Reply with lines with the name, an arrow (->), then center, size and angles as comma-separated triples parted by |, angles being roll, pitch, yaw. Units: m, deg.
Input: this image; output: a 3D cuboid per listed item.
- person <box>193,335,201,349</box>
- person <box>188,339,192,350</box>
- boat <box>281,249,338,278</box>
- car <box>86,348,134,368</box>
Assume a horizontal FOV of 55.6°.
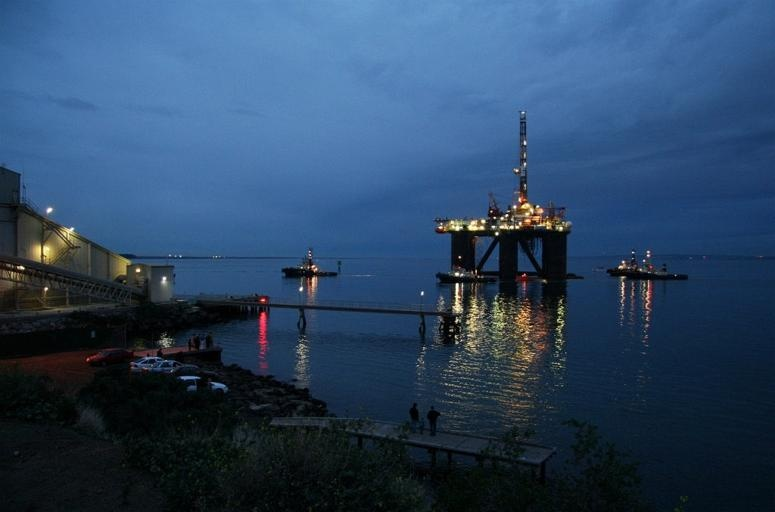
person -> -16.043, 7.283, 61.764 | 0.459, 1.139, 0.675 | 6, -8, -17
person -> -16.493, 7.435, 61.918 | 0.374, 1.028, 0.937 | 5, -8, -8
boat -> -24.688, 3.851, 233.223 | 6.855, 6.999, 17.588 | 4, 3, 19
car -> -20.734, 7.557, 54.909 | 1.364, 0.969, 2.857 | 0, -4, 44
